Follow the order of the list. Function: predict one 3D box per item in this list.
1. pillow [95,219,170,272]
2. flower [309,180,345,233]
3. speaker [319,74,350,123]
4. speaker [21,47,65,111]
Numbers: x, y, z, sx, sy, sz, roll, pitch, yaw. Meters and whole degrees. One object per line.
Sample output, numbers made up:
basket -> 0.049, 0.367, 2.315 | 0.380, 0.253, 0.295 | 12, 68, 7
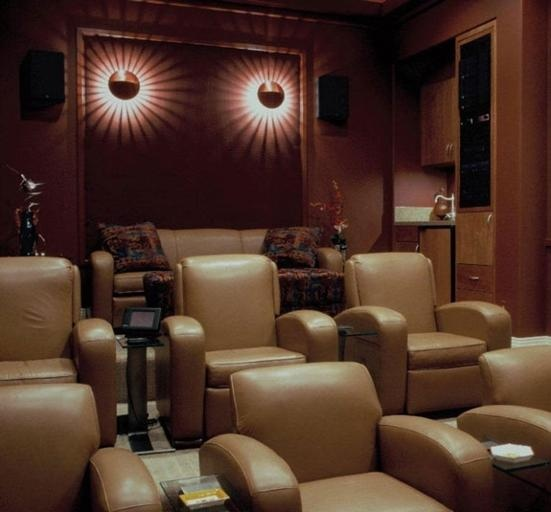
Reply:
pillow -> -1.399, -0.049, 5.076 | 0.764, 0.266, 0.884 | -8, -7, -8
flower -> 0.671, -0.611, 6.041 | 0.474, 0.634, 0.416 | -3, 2, -14
speaker -> 0.694, -1.823, 6.123 | 0.372, 0.561, 0.293 | 2, -18, -4
speaker -> -2.240, -1.672, 4.935 | 0.394, 0.471, 0.348 | -3, 2, -28
